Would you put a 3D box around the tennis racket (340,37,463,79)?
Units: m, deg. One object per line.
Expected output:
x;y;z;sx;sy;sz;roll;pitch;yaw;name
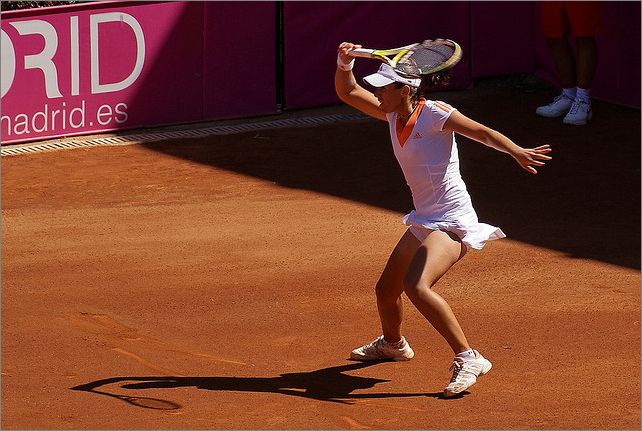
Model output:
0.775;-1.316;7.766;0.818;0.104;0.413;-2;26;14;tennis racket

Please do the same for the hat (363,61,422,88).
0.595;-1.177;7.580;0.448;0.097;0.207;6;7;-8;hat

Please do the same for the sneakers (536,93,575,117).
3.698;-1.716;14.121;0.728;0.234;0.258;-10;31;0;sneakers

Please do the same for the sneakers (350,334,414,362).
0.556;1.229;8.299;0.636;0.193;0.213;1;8;1;sneakers

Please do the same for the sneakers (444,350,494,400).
1.263;1.388;7.687;0.529;0.231;0.180;-37;30;-15;sneakers

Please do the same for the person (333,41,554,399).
0.952;0.134;7.666;1.233;2.811;0.714;2;10;2;person

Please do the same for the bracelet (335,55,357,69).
0.228;-1.388;8.139;0.180;0.101;0.151;-2;18;-10;bracelet
